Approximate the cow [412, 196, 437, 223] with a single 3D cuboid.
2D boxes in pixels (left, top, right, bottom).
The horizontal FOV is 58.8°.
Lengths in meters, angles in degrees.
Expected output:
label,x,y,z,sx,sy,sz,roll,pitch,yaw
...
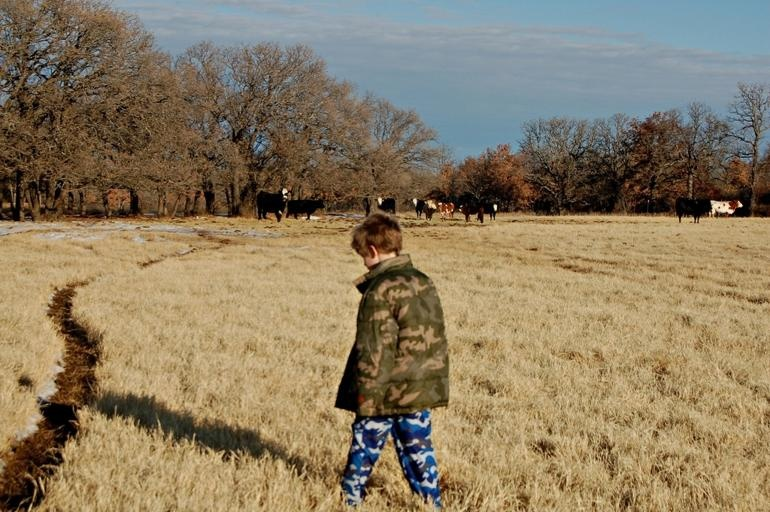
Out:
label,x,y,z,sx,sy,sz,roll,pitch,yaw
cow,2.863,-3.367,48.541,1.010,2.045,3.733,-1,-6,21
